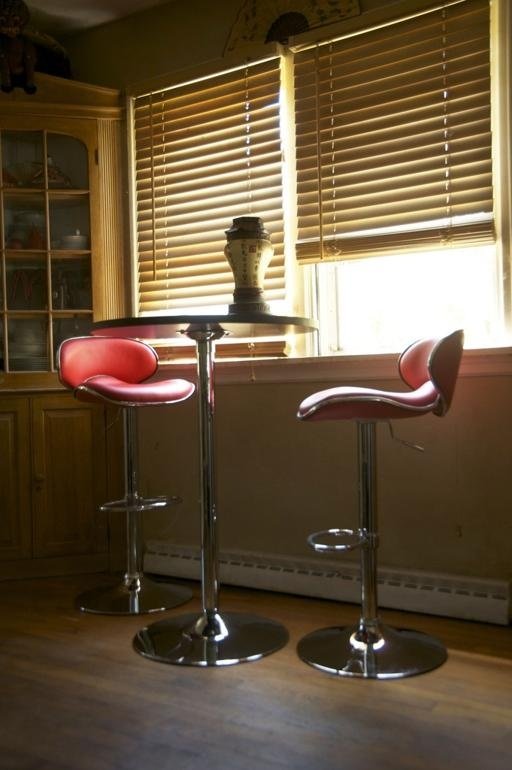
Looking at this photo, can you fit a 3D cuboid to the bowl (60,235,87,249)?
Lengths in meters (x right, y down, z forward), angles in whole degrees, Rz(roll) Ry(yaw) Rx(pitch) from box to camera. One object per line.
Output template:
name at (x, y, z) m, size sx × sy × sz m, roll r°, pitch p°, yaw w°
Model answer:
bowl at (-0.800, -0.622, 3.044) m, size 0.077 × 0.044 × 0.074 m, roll 1°, pitch 5°, yaw 0°

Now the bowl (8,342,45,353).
bowl at (-0.986, -0.165, 2.977) m, size 0.109 × 0.053 × 0.021 m, roll 2°, pitch -2°, yaw -13°

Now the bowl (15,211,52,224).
bowl at (-0.979, -0.723, 2.994) m, size 0.076 × 0.030 × 0.075 m, roll 0°, pitch 1°, yaw 0°

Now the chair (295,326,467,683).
chair at (0.322, 0.307, 1.887) m, size 0.446 × 0.875 × 0.471 m, roll -2°, pitch -1°, yaw 3°
